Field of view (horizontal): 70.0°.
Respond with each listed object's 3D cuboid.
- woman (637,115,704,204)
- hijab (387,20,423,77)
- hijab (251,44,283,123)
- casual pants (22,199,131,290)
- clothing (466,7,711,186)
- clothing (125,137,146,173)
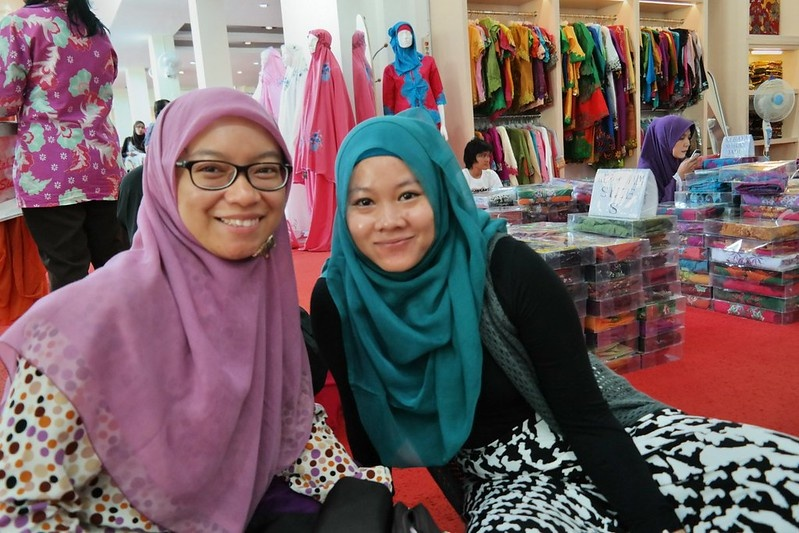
[{"bbox_3d":[2.166,-0.804,4.538,0.524,0.804,0.432,5,36,37],"label":"woman"},{"bbox_3d":[0.060,-1.940,5.045,0.278,0.425,0.224,-20,20,-22],"label":"hijab"},{"bbox_3d":[-1.257,-1.814,5.602,0.354,0.274,0.593,-19,-30,-28],"label":"hijab"},{"bbox_3d":[-1.400,-0.116,2.463,0.165,0.524,0.239,1,27,44],"label":"casual pants"},{"bbox_3d":[1.712,-1.629,5.411,2.287,1.667,0.983,-4,11,-14],"label":"clothing"},{"bbox_3d":[-3.008,-1.263,6.465,0.279,0.353,0.125,-15,-28,-16],"label":"clothing"}]
